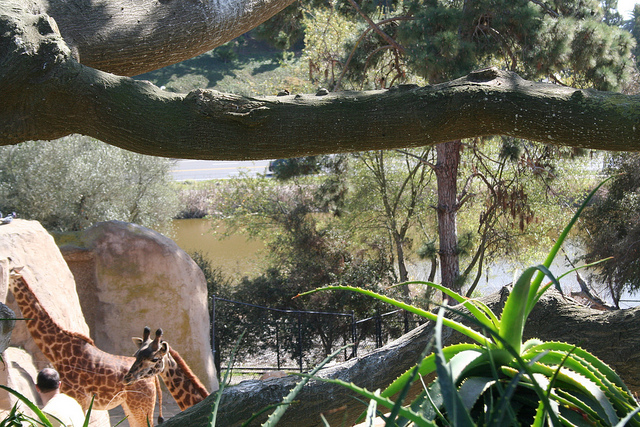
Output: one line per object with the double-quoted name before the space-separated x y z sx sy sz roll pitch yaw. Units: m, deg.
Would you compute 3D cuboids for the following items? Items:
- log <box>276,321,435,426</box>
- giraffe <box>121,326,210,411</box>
"log" 0.781 3.408 31.846 3.441 0.818 0.609 -30 -18 -9
"giraffe" -3.262 3.262 31.420 0.787 1.539 1.613 -12 -21 43
